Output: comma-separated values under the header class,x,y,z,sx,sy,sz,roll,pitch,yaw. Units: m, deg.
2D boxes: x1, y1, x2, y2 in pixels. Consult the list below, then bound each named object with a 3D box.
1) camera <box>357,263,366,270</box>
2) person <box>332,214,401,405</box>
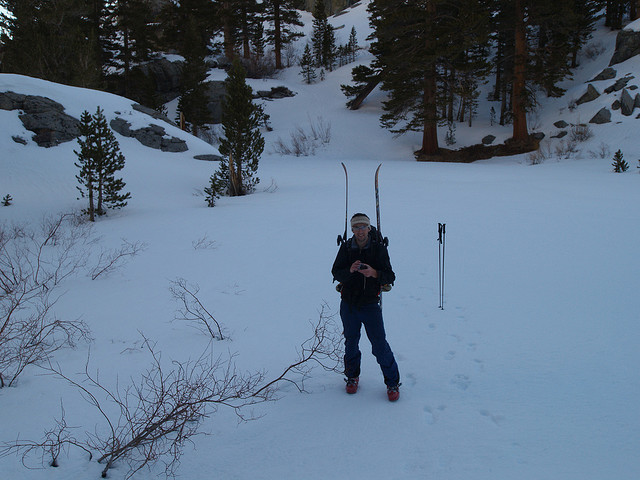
class,x,y,z,sx,sy,sz,roll,pitch,yaw
camera,0.898,0.575,13.564,0.127,0.150,0.128,5,9,10
person,0.977,1.522,13.788,1.358,4.133,1.177,-1,16,9
